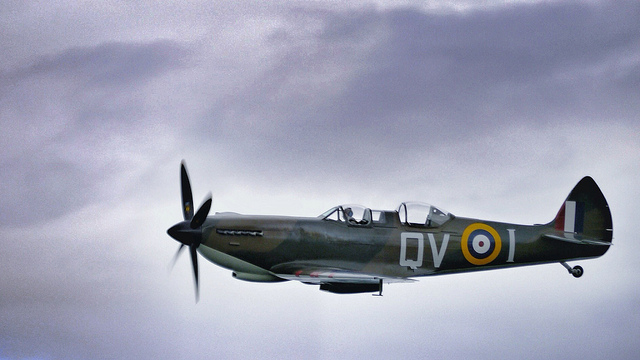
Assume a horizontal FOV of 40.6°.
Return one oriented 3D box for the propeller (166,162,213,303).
[{"bbox_3d":[-4.925,2.031,32.508,1.444,5.209,1.374,9,-23,-8],"label":"propeller"}]
